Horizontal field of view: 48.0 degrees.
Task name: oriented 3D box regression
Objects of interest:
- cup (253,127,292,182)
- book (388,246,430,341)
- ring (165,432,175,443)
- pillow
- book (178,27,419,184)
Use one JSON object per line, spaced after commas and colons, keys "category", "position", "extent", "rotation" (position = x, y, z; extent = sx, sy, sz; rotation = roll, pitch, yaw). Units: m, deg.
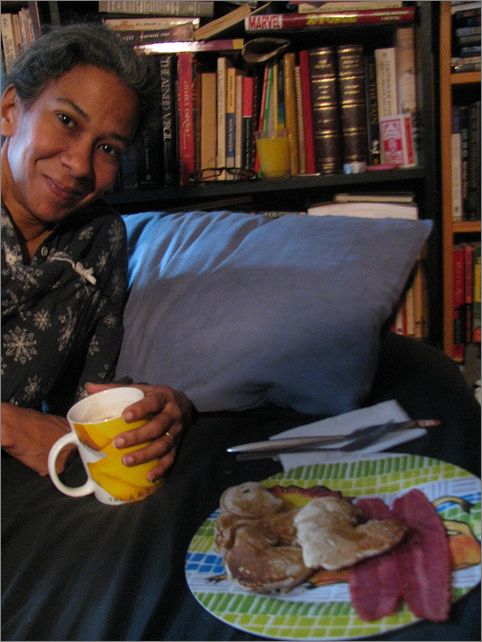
{"category": "cup", "position": [0.089, -0.449, 1.460], "extent": [0.087, 0.123, 0.079], "rotation": [-5, 11, 1]}
{"category": "book", "position": [0.460, -0.060, 1.436], "extent": [0.071, 0.268, 0.216], "rotation": [4, 13, 22]}
{"category": "ring", "position": [-0.070, 0.118, 0.545], "extent": [0.002, 0.008, 0.009], "rotation": [-48, 12, -12]}
{"category": "pillow", "position": [-0.012, -0.030, 0.780], "extent": [0.474, 0.262, 0.262], "rotation": [5, 14, 39]}
{"category": "book", "position": [0.173, -0.592, 1.452], "extent": [0.449, 0.382, 0.146], "rotation": [-2, -24, 21]}
